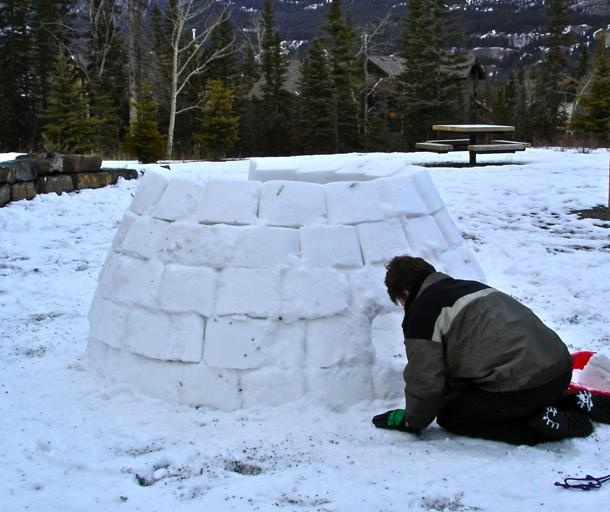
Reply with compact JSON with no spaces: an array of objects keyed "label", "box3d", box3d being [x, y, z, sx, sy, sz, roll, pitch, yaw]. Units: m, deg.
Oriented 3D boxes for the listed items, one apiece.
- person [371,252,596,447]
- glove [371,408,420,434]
[{"label":"person","box3d":[0.913,0.479,3.233,1.081,0.819,0.816,10,15,42]},{"label":"glove","box3d":[0.491,0.915,3.235,0.299,0.132,0.107,7,2,30]}]
